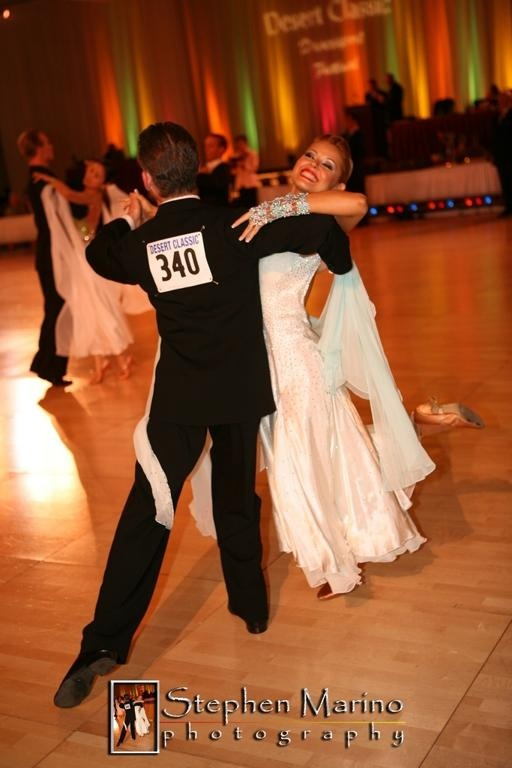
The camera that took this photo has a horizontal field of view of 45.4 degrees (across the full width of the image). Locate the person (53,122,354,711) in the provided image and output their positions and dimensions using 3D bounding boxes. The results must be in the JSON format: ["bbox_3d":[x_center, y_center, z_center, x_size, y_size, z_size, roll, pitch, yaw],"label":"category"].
[{"bbox_3d":[-0.150,0.045,1.544,0.910,1.329,0.359,-10,11,-6],"label":"person"}]

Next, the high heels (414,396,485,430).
[{"bbox_3d":[0.751,0.112,2.429,0.198,0.075,0.121,3,1,44],"label":"high heels"}]
